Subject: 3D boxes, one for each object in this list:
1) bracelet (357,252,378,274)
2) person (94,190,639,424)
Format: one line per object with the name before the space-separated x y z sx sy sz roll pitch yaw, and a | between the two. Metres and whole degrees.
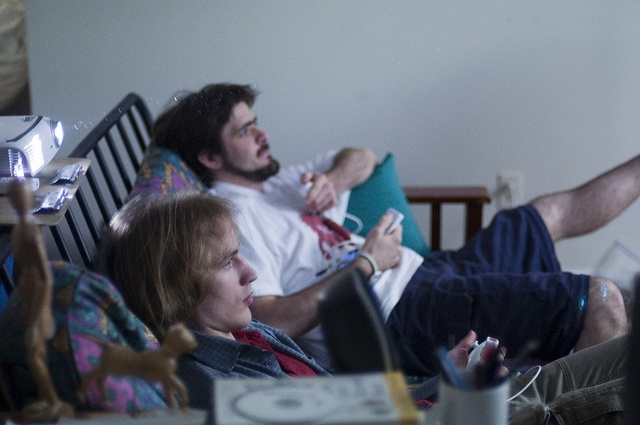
bracelet | 0.150 0.156 1.777 0.025 0.065 0.058 -31 -27 -16
person | 0.065 0.120 1.382 0.964 0.575 0.597 0 12 2
